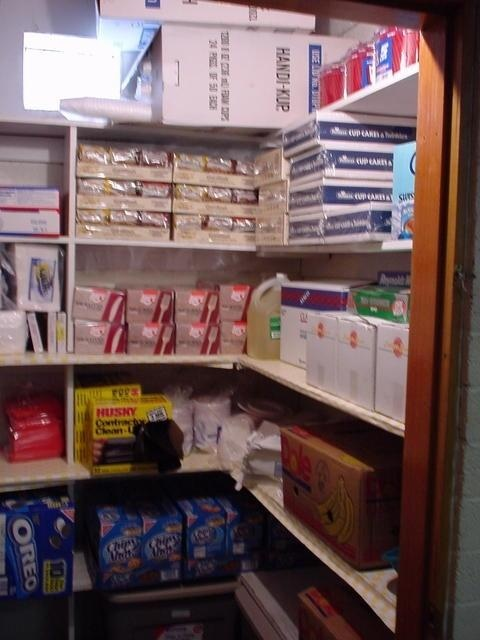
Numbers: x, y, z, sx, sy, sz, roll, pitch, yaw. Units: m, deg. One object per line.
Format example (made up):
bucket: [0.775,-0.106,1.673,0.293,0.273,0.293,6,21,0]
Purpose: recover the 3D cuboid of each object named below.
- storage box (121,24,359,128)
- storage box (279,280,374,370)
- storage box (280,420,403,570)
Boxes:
storage box: [-0.024,-0.898,2.248,0.661,0.391,0.425,8,-4,11]
storage box: [0.274,0.020,1.982,0.134,0.301,0.255,0,6,-41]
storage box: [0.279,0.462,1.502,0.194,0.250,0.390,1,4,-28]
